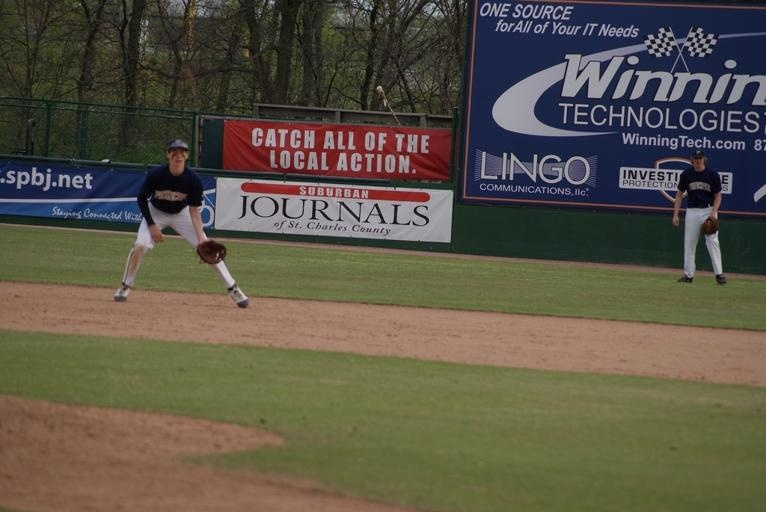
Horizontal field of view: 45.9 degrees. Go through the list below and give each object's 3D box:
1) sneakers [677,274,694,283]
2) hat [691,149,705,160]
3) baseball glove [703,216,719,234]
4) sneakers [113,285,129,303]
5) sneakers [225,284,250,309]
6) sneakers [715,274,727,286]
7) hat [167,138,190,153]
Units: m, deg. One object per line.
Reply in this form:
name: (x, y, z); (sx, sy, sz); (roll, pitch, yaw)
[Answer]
sneakers: (5.909, 0.426, 17.611); (0.310, 0.185, 0.152); (3, 5, 15)
hat: (5.832, -1.820, 16.640); (0.224, 0.196, 0.352); (7, 15, 17)
baseball glove: (6.108, -0.599, 16.784); (0.253, 0.292, 0.311); (-3, 20, -6)
sneakers: (-3.998, 0.585, 13.832); (0.209, 0.272, 0.284); (7, -20, -2)
sneakers: (-2.208, 0.608, 13.749); (0.235, 0.432, 0.178); (-41, 5, 27)
sneakers: (6.549, 0.441, 17.500); (0.164, 0.177, 0.434); (-2, -5, 2)
hat: (-3.059, -1.622, 13.364); (0.274, 0.139, 0.364); (0, 1, -13)
